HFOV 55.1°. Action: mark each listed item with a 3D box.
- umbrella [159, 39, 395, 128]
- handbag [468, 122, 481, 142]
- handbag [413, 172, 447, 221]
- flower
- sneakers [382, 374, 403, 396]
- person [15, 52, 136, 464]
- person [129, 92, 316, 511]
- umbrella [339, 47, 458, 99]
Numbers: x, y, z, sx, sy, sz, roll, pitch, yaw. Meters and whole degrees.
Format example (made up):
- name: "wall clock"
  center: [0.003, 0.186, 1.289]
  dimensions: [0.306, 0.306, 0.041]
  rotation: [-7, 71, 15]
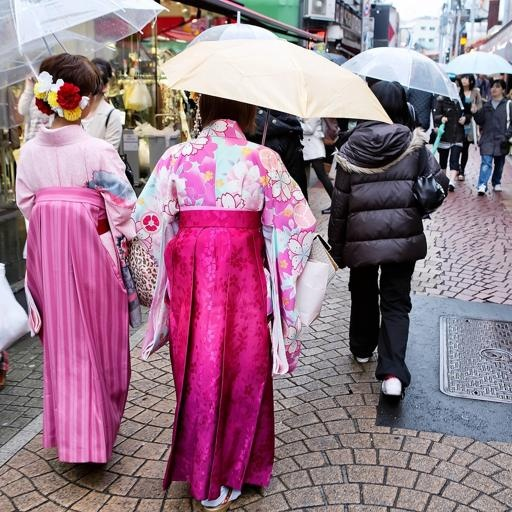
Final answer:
- name: "umbrella"
  center: [0.048, -0.703, 1.936]
  dimensions: [0.934, 0.340, 0.455]
  rotation: [3, 12, 15]
- name: "handbag"
  center: [5.127, -2.824, 11.438]
  dimensions: [0.319, 0.504, 0.431]
  rotation: [2, 0, 29]
- name: "handbag"
  center: [1.059, -0.368, 2.949]
  dimensions: [0.084, 0.212, 0.229]
  rotation: [-9, 38, -2]
- name: "flower"
  center: [-0.863, -0.714, 2.181]
  dimensions: [0.226, 0.219, 0.200]
  rotation: [-6, 12, -24]
- name: "sneakers"
  center: [0.850, 0.807, 3.080]
  dimensions: [0.071, 0.075, 0.166]
  rotation: [1, 6, 5]
- name: "person"
  center: [-0.858, 0.029, 2.337]
  dimensions: [0.576, 1.914, 0.438]
  rotation: [-3, 11, -10]
- name: "person"
  center: [-0.160, 0.269, 2.128]
  dimensions: [0.815, 1.667, 0.518]
  rotation: [0, 11, 5]
- name: "umbrella"
  center: [1.417, -1.791, 4.706]
  dimensions: [1.033, 0.425, 1.074]
  rotation: [8, 18, 5]
